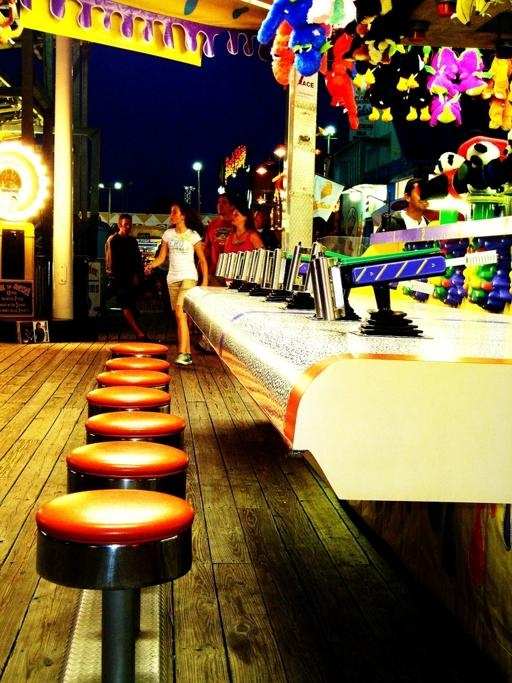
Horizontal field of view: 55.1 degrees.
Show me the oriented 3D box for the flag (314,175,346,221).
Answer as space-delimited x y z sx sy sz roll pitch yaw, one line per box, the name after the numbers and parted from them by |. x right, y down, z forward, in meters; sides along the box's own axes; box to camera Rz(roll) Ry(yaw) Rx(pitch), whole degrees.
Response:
1.370 -2.809 9.340 0.513 1.021 2.051 4 4 7 | flag

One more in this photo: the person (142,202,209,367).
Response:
-0.949 -0.734 6.063 0.640 2.021 0.593 1 1 4 | person

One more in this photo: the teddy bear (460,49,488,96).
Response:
1.659 -2.093 3.760 0.225 0.398 0.137 1 -4 19 | teddy bear
